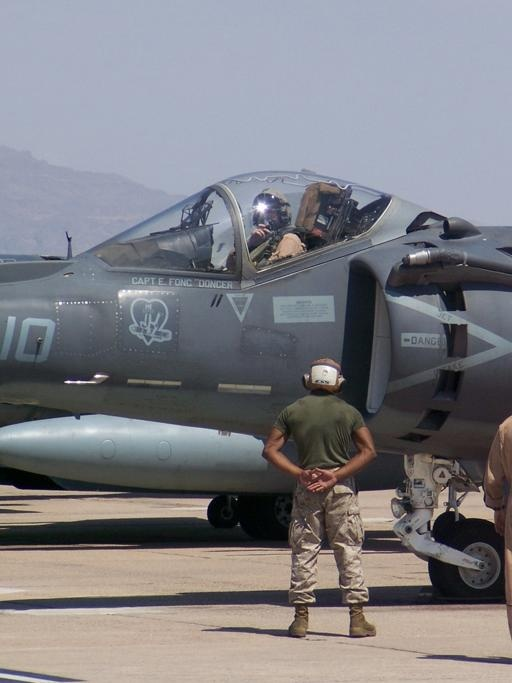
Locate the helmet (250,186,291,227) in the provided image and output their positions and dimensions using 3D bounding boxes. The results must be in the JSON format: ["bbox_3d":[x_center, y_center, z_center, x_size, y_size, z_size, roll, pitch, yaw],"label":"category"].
[{"bbox_3d":[0.120,-1.075,6.532,0.341,0.304,0.297,-10,23,14],"label":"helmet"}]

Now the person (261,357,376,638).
[{"bbox_3d":[0.431,1.021,5.105,0.808,1.659,0.408,4,1,-3],"label":"person"}]

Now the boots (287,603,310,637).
[{"bbox_3d":[0.274,1.757,5.053,0.113,0.205,0.166,4,1,2],"label":"boots"}]

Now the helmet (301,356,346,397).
[{"bbox_3d":[0.448,0.229,5.273,0.285,0.174,0.243,5,-11,3],"label":"helmet"}]
